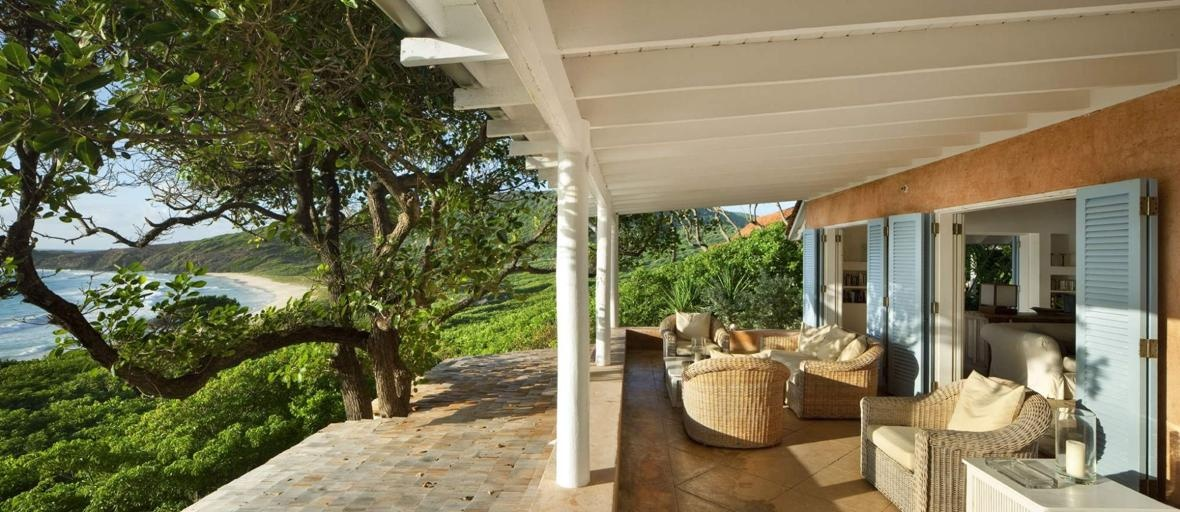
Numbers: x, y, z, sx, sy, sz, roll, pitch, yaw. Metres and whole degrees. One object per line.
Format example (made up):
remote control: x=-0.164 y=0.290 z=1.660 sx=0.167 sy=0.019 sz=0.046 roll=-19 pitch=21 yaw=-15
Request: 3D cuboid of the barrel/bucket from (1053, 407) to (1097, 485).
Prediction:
barrel/bucket: x=7.533 y=2.879 z=9.719 sx=0.684 sy=1.032 sz=0.706 roll=0 pitch=-3 yaw=0

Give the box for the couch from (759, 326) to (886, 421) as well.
couch: x=4.950 y=2.468 z=13.329 sx=2.001 sy=1.614 sz=1.591 roll=0 pitch=-2 yaw=-2

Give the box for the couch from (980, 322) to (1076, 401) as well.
couch: x=8.675 y=2.027 z=12.804 sx=1.780 sy=1.653 sz=1.112 roll=0 pitch=-1 yaw=20

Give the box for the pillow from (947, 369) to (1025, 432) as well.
pillow: x=6.618 y=2.507 z=10.649 sx=0.350 sy=0.982 sz=1.110 roll=26 pitch=-13 yaw=-36

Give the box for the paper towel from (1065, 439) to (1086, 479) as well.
paper towel: x=7.454 y=3.181 z=9.741 sx=0.366 sy=0.480 sz=0.334 roll=0 pitch=-10 yaw=28

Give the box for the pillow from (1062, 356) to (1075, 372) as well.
pillow: x=8.958 y=2.064 z=11.947 sx=0.192 sy=0.276 sz=0.573 roll=-2 pitch=1 yaw=40
